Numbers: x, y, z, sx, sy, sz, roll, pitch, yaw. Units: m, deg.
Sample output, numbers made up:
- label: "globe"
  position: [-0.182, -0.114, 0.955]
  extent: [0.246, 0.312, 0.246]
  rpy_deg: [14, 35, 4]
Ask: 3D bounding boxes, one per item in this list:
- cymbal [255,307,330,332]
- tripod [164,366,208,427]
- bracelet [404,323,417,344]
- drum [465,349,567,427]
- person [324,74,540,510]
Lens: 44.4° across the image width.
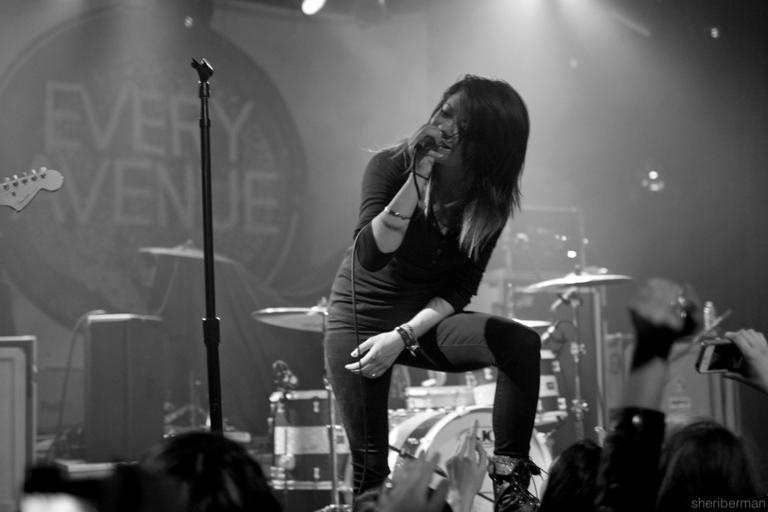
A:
- label: "cymbal"
  position: [-0.646, 0.423, 6.350]
  extent: [0.482, 0.149, 0.556]
  rpy_deg: [2, -10, -8]
- label: "tripod"
  position: [-1.324, 0.969, 6.319]
  extent: [0.347, 0.325, 0.082]
  rpy_deg: [7, -10, -37]
- label: "bracelet"
  position: [0.125, 0.391, 4.824]
  extent: [0.066, 0.090, 0.101]
  rpy_deg: [-13, -51, 0]
- label: "drum"
  position: [0.918, 0.854, 6.577]
  extent: [0.619, 0.516, 0.610]
  rpy_deg: [2, -3, -9]
- label: "person"
  position: [0.248, 0.167, 4.827]
  extent: [1.085, 2.186, 0.435]
  rpy_deg: [0, -10, -1]
